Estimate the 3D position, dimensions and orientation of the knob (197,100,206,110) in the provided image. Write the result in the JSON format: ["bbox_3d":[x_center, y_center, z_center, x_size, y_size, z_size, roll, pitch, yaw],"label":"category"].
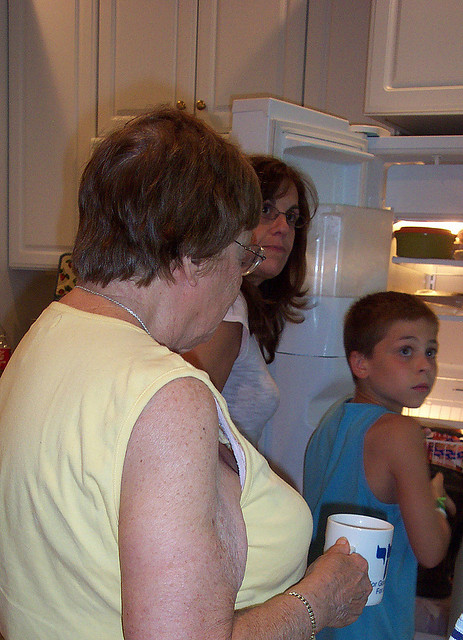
[{"bbox_3d":[-0.102,-0.727,1.904,0.032,0.029,0.019,-2,2,-15],"label":"knob"}]

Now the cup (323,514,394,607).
[{"bbox_3d":[0.177,0.333,0.779,0.091,0.122,0.077,0,7,9],"label":"cup"}]
